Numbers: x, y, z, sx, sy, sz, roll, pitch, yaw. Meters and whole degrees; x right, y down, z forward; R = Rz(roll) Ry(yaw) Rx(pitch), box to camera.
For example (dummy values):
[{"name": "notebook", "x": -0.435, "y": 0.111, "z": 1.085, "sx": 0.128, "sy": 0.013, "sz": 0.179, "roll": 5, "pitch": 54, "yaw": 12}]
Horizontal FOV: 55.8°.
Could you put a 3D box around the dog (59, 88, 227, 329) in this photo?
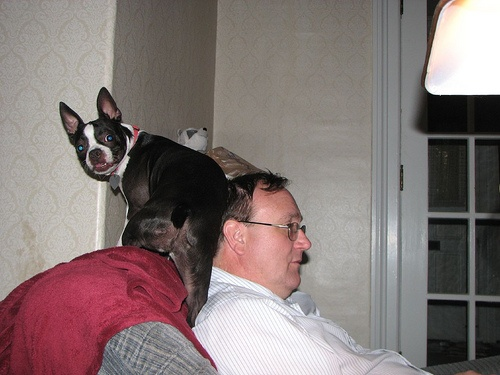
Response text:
[{"name": "dog", "x": -0.449, "y": -0.075, "z": 1.661, "sx": 0.292, "sy": 0.743, "sz": 1.055, "roll": -6, "pitch": 27, "yaw": -35}]
